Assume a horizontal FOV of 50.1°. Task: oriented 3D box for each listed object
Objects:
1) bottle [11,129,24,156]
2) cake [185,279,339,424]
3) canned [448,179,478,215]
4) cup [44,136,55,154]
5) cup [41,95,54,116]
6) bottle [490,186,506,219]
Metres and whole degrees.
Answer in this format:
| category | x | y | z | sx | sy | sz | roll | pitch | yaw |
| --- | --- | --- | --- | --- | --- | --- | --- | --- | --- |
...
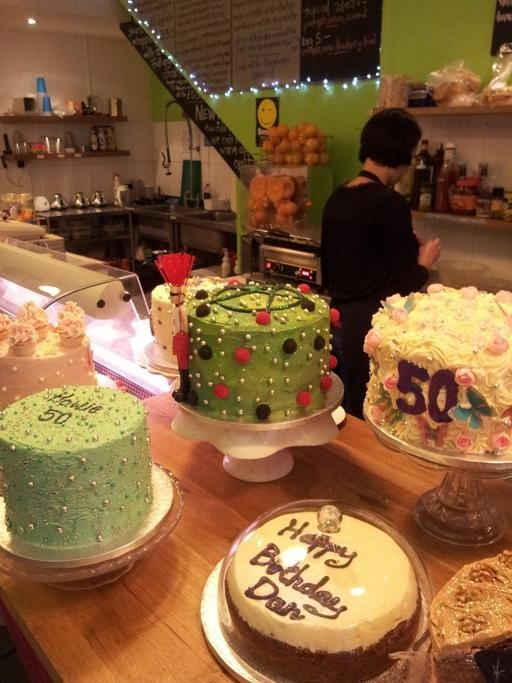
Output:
| category | x | y | z | sx | sy | sz | roll | pitch | yaw |
| --- | --- | --- | --- | --- | --- | --- | --- | --- | --- |
| bottle | -2.430 | -2.025 | 5.583 | 0.124 | 0.240 | 0.278 | -9 | 19 | -21 |
| cake | 0.010 | 0.016 | 1.210 | 0.323 | 0.236 | 0.329 | -1 | 17 | 1 |
| canned | 1.065 | -0.739 | 2.807 | 0.147 | 0.181 | 0.124 | 6 | 19 | 21 |
| cup | -2.140 | -2.050 | 5.740 | 0.151 | 0.155 | 0.181 | -7 | 18 | -17 |
| cup | -2.179 | -2.446 | 5.700 | 0.108 | 0.207 | 0.348 | -8 | 18 | -17 |
| bottle | 1.193 | -0.680 | 2.700 | 0.074 | 0.144 | 0.139 | 5 | 19 | 19 |
